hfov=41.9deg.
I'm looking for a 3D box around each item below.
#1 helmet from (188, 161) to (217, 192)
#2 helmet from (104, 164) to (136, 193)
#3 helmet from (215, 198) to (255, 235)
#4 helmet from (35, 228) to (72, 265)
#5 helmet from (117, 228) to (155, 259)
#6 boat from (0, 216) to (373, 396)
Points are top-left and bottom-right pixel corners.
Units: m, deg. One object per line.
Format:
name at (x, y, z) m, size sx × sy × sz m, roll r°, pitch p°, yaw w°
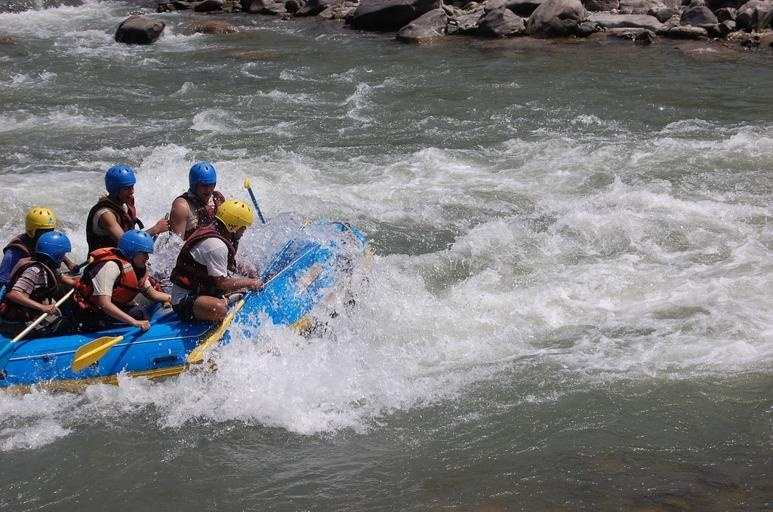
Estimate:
helmet at (-2.908, -1.298, 16.077) m, size 0.487 × 0.351 × 0.507 m, roll -1°, pitch 23°, yaw -13°
helmet at (-4.255, -1.205, 15.814) m, size 0.627 × 0.355 × 0.403 m, roll -9°, pitch 22°, yaw -13°
helmet at (-2.245, -0.574, 14.940) m, size 0.689 × 0.407 × 0.422 m, roll 5°, pitch 34°, yaw -20°
helmet at (-4.963, -0.128, 15.193) m, size 0.646 × 0.410 × 0.454 m, roll 7°, pitch 12°, yaw 17°
helmet at (-3.718, -0.157, 14.903) m, size 0.501 × 0.443 × 0.270 m, roll -4°, pitch 24°, yaw -12°
boat at (-2.971, 1.030, 15.411) m, size 5.173 × 0.733 × 2.177 m, roll -16°, pitch 4°, yaw -8°
